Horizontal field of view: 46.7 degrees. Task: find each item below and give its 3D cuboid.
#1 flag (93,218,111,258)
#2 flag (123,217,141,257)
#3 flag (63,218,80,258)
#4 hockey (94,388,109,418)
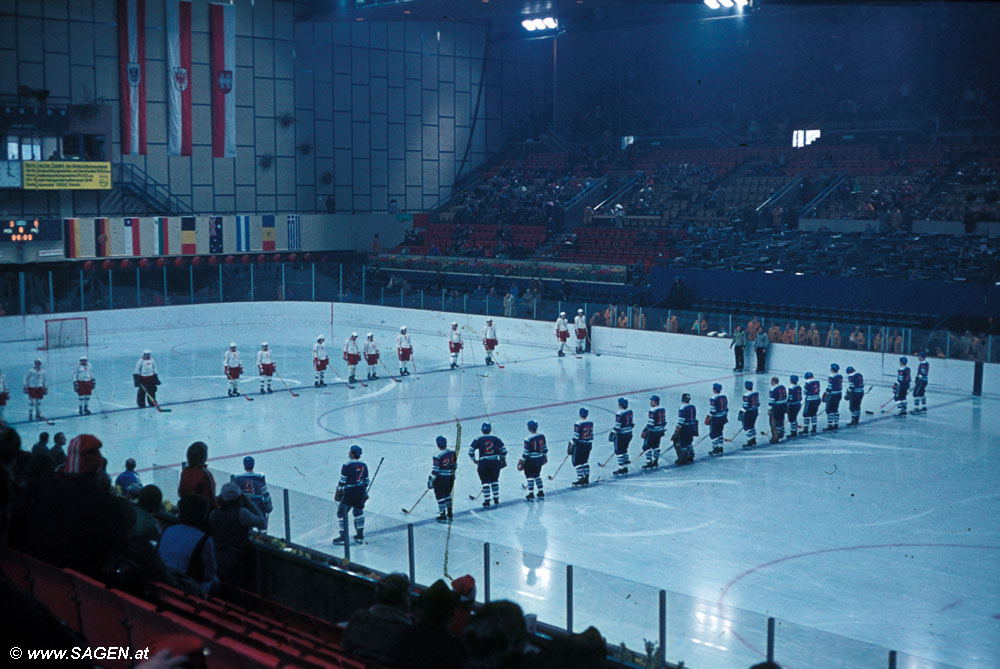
[{"bbox_3d":[-18.369,-4.512,53.599,0.208,1.772,0.716,2,3,31],"label":"flag"},{"bbox_3d":[-17.270,-4.622,54.603,0.193,1.854,0.833,3,4,42],"label":"flag"},{"bbox_3d":[-19.364,-4.379,52.519,0.669,1.737,0.173,-2,3,-32],"label":"flag"},{"bbox_3d":[-13.170,2.285,38.326,0.244,0.286,2.086,-7,21,-32],"label":"hockey"}]
